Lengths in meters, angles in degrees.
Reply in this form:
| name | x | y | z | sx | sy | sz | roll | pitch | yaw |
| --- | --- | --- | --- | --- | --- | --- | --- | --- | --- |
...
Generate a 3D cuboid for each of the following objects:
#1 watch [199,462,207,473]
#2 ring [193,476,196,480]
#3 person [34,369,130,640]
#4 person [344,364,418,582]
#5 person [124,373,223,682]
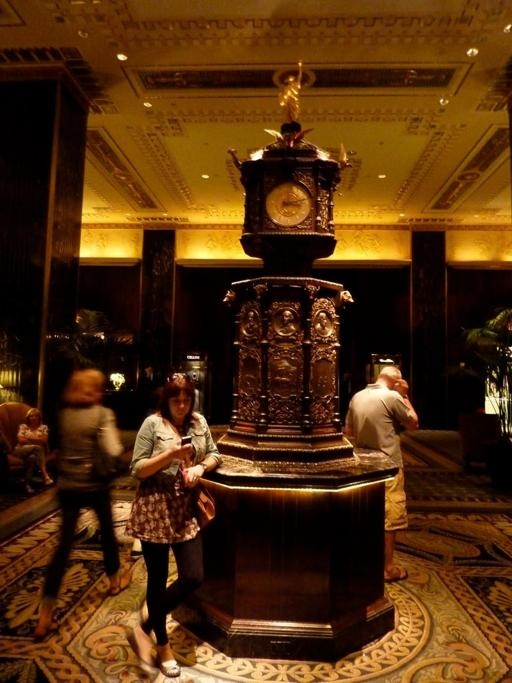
| name | x | y | z | sx | sy | sz | roll | pitch | yaw |
| --- | --- | --- | --- | --- | --- | --- | --- | --- | --- |
| watch | -0.275 | 0.667 | 2.809 | 0.035 | 0.044 | 0.050 | -9 | 29 | -24 |
| ring | -0.309 | 0.682 | 2.663 | 0.012 | 0.020 | 0.011 | -4 | -19 | -1 |
| person | -1.101 | 0.947 | 3.382 | 0.458 | 1.533 | 0.569 | 1 | -3 | -13 |
| person | 0.947 | 0.984 | 4.026 | 0.538 | 1.591 | 0.709 | 0 | -3 | 9 |
| person | -0.396 | 0.921 | 2.764 | 0.352 | 1.507 | 0.514 | -1 | -3 | 30 |
